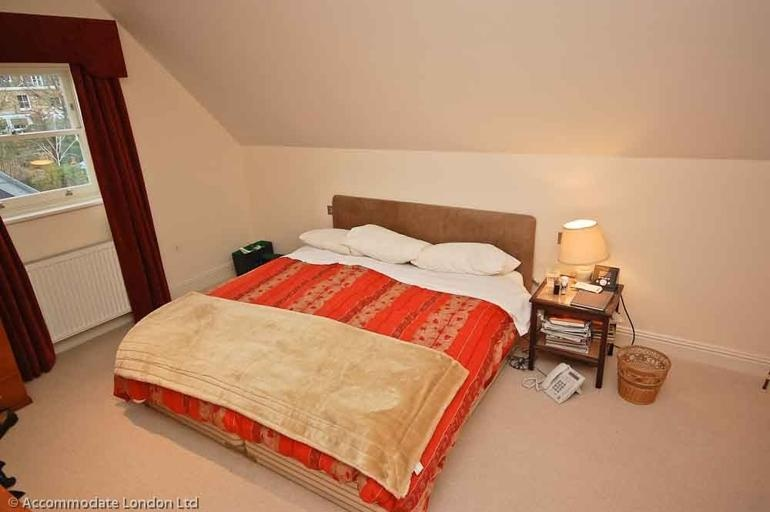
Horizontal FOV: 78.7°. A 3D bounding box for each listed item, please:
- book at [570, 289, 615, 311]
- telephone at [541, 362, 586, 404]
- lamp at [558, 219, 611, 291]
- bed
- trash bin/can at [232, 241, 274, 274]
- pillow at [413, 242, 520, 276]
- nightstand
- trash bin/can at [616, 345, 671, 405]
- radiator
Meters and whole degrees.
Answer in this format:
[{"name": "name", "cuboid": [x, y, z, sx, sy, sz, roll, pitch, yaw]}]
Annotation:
[{"name": "book", "cuboid": [1.623, 0.342, 3.681, 0.268, 0.059, 0.318, 12, 24, 28]}, {"name": "telephone", "cuboid": [1.380, 1.001, 3.662, 0.290, 0.118, 0.284, -44, 36, -6]}, {"name": "lamp", "cuboid": [1.637, -0.014, 3.901, 0.383, 0.487, 0.394, -9, 10, -9]}, {"name": "bed", "cuboid": [0.036, 0.188, 3.503, 2.673, 1.145, 2.606, 16, 38, 23]}, {"name": "trash bin/can", "cuboid": [-1.425, 0.032, 5.111, 0.181, 0.231, 0.332, -1, 21, 37]}, {"name": "pillow", "cuboid": [0.720, 0.014, 4.220, 0.928, 0.243, 0.312, 8, 23, 19]}, {"name": "nightstand", "cuboid": [1.563, 0.599, 4.087, 0.840, 0.796, 0.830, 8, 16, 27]}, {"name": "trash bin/can", "cuboid": [1.983, 0.908, 3.659, 0.354, 0.370, 0.372, 14, 26, 31]}, {"name": "radiator", "cuboid": [-2.739, 0.300, 4.184, 0.087, 0.591, 0.842, 0, 19, 36]}]
